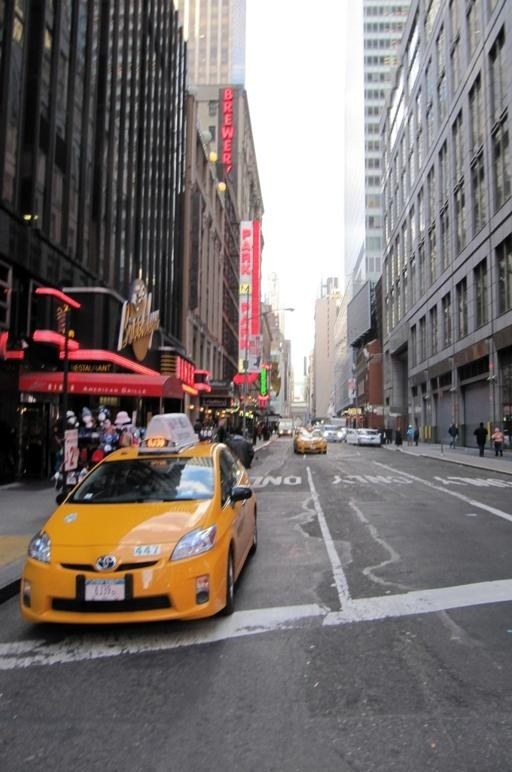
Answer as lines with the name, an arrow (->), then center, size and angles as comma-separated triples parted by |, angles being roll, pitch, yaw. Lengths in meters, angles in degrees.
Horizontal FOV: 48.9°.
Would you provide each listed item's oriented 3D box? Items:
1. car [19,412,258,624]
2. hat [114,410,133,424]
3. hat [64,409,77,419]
car -> -0.822, 1.200, 5.133 | 0.968, 1.499, 2.629 | -2, -9, 4
hat -> -3.417, 0.868, 14.449 | 0.286, 0.335, 0.470 | -4, 9, -4
hat -> -4.446, 0.674, 13.496 | 0.176, 0.266, 0.367 | 1, -10, -12
